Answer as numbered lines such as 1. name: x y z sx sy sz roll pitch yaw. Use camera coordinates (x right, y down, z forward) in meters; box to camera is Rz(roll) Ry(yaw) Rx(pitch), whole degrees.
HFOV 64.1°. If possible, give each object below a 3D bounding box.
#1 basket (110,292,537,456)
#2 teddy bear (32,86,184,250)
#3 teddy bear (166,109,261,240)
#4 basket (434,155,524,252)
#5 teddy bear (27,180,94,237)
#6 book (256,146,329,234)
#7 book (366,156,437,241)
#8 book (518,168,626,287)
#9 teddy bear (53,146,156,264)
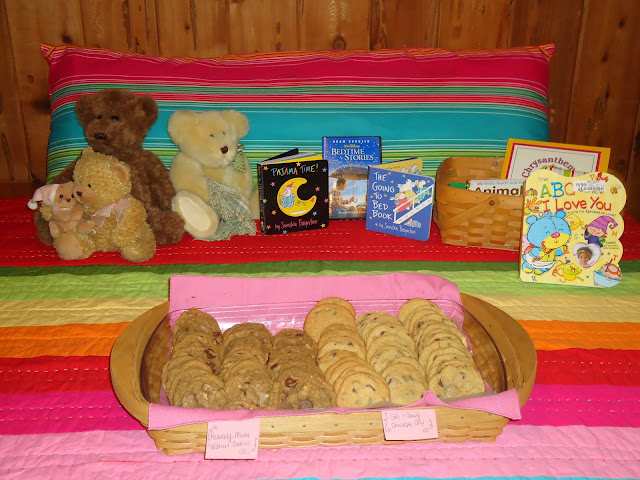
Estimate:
1. basket: 0.017 0.354 1.164 0.823 0.130 0.443 -2 27 -2
2. teddy bear: -0.797 -0.273 1.968 0.491 0.567 0.401 -5 32 -18
3. teddy bear: -0.416 -0.289 2.125 0.467 0.469 0.357 -15 31 -40
4. basket: 0.597 -0.130 2.087 0.377 0.261 0.324 3 33 7
5. teddy bear: -0.949 -0.097 1.885 0.202 0.228 0.155 -4 -9 -26
6. book: -0.090 -0.144 2.197 0.285 0.324 0.281 -9 -21 15
7. book: 0.342 -0.151 2.176 0.247 0.292 0.297 -2 -3 12
8. book: 0.871 -0.033 1.774 0.373 0.467 0.018 2 12 6
9. teddy bear: -0.807 -0.115 1.903 0.330 0.377 0.304 -6 44 -17
